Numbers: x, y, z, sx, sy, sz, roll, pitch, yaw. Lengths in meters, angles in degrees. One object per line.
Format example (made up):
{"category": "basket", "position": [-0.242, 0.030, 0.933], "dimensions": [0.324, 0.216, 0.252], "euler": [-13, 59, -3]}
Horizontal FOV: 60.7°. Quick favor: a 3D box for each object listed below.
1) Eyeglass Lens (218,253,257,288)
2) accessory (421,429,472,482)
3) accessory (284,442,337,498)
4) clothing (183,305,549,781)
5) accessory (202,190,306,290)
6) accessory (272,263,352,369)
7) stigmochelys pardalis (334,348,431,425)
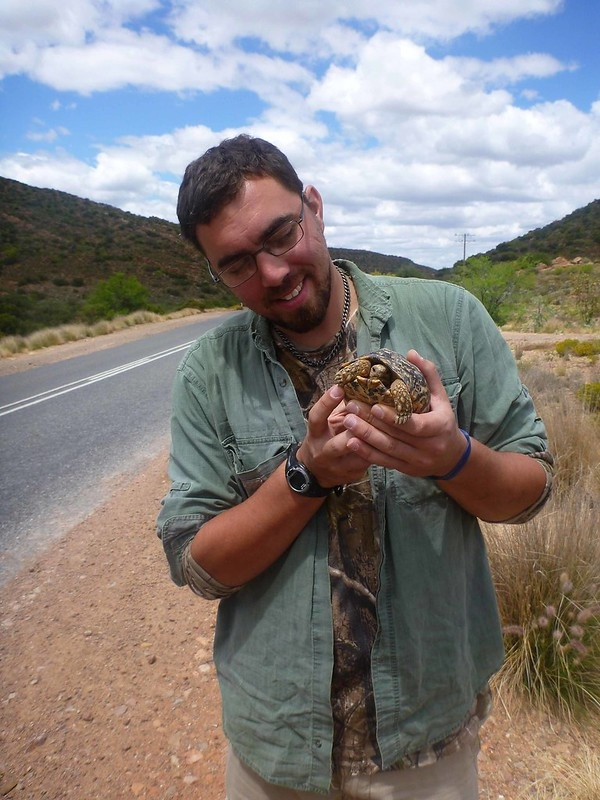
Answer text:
{"category": "Eyeglass Lens", "position": [-0.226, -0.465, 1.856], "dimensions": [0.117, 0.036, 0.114], "euler": [-24, -13, -45]}
{"category": "accessory", "position": [0.470, 0.180, 1.586], "dimensions": [0.103, 0.184, 0.076], "euler": [5, 15, 19]}
{"category": "accessory", "position": [0.003, 0.233, 1.634], "dimensions": [0.165, 0.112, 0.172], "euler": [3, 40, -38]}
{"category": "clothing", "position": [0.183, 0.442, 1.879], "dimensions": [1.337, 1.635, 0.821], "euler": [-2, 14, -8]}
{"category": "accessory", "position": [-0.139, -0.571, 1.860], "dimensions": [0.319, 0.096, 0.325], "euler": [-30, 14, 36]}
{"category": "accessory", "position": [0.082, -0.322, 2.041], "dimensions": [0.284, 0.387, 0.079], "euler": [-22, -8, 33]}
{"category": "stigmochelys pardalis", "position": [0.278, -0.060, 1.654], "dimensions": [0.203, 0.132, 0.294], "euler": [15, -10, 22]}
